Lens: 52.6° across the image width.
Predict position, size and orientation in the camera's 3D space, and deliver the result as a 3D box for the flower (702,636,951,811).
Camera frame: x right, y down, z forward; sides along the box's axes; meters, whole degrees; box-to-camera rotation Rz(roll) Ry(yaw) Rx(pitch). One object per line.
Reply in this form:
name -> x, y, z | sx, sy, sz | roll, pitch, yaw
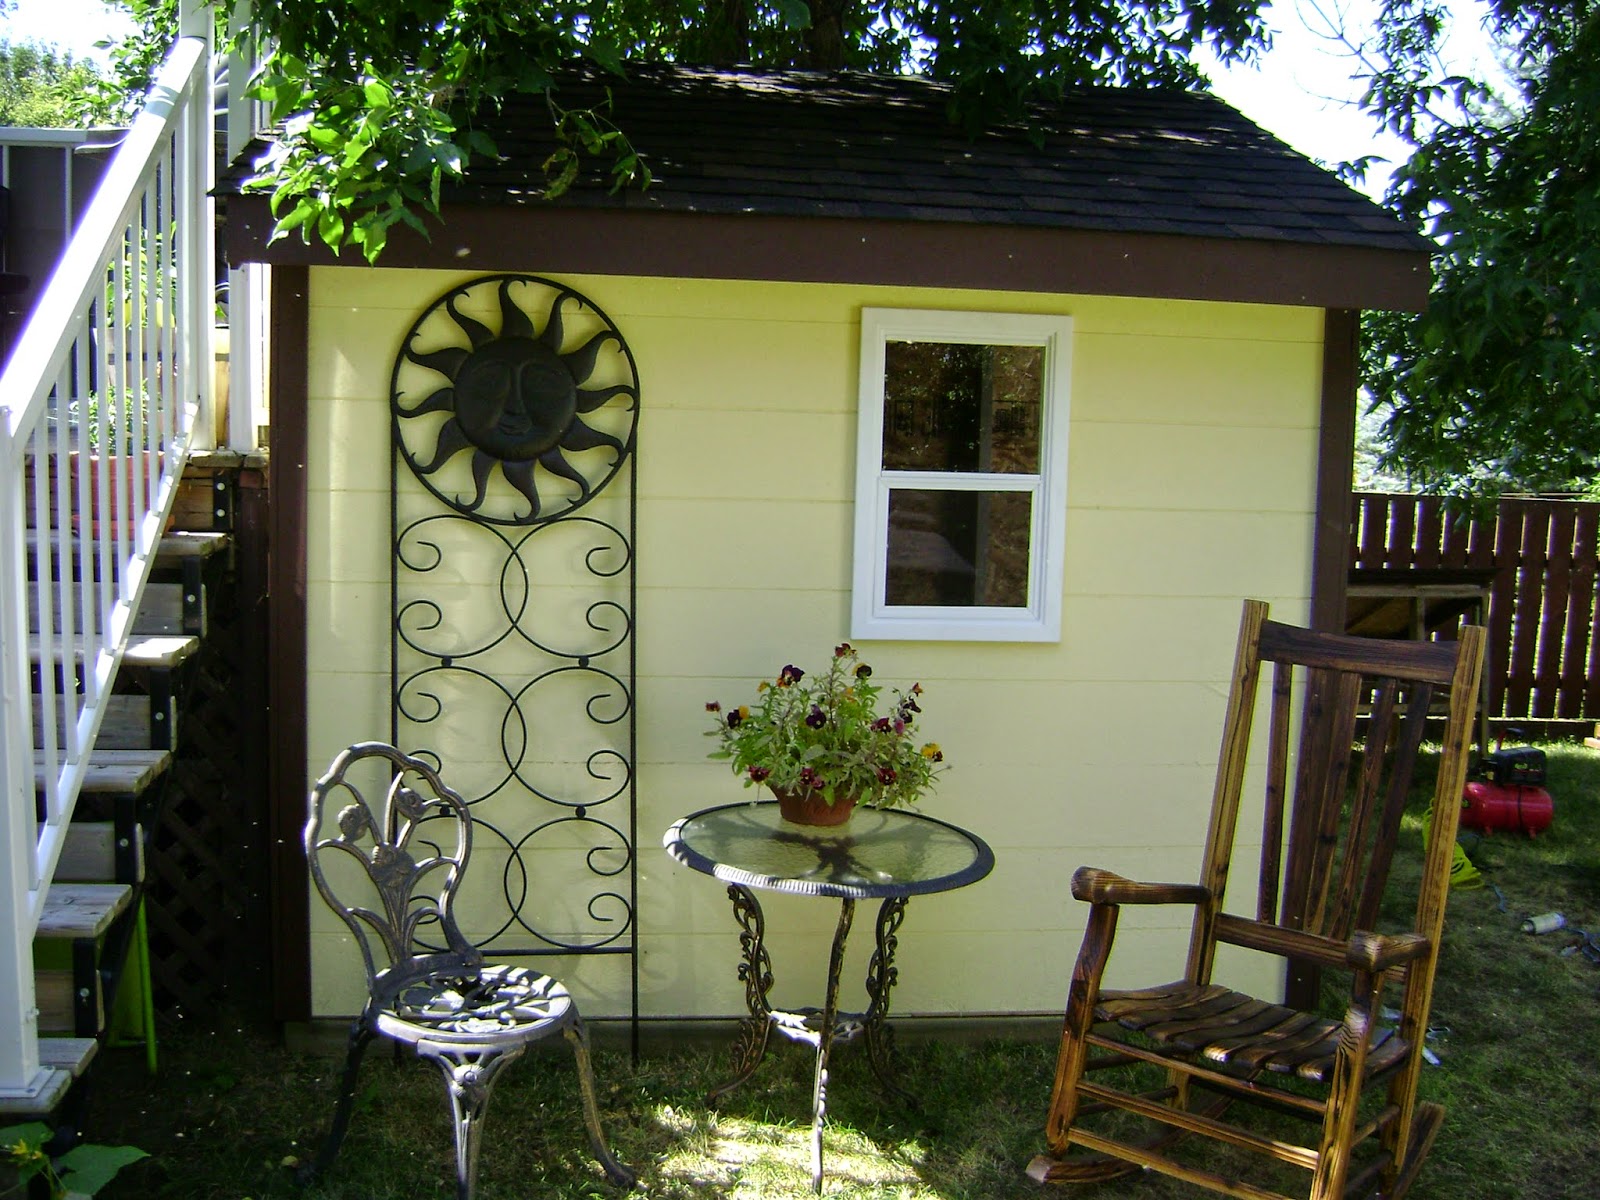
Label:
flower -> 0.150, 0.474, 5.759 | 0.683, 0.501, 0.727 | -5, 11, -44
